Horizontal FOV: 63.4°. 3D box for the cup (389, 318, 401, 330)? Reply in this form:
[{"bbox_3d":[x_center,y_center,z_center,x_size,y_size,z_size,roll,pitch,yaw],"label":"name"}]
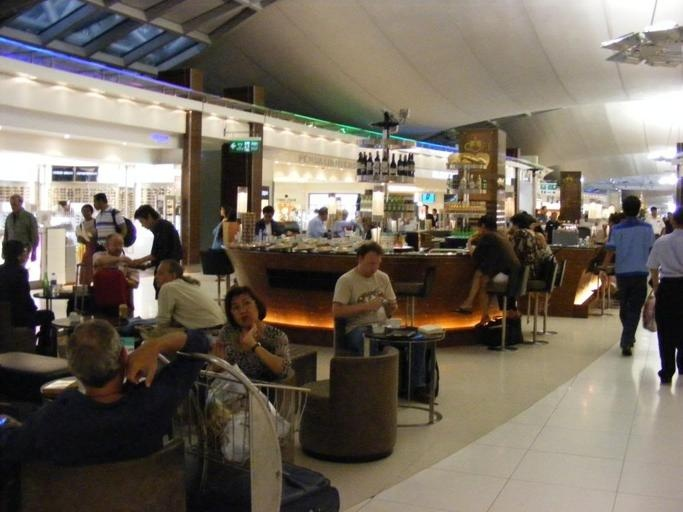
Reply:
[{"bbox_3d":[0.438,0.547,4.489,0.081,0.060,0.083,1,2,0],"label":"cup"}]

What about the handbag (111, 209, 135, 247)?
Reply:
[{"bbox_3d":[-3.130,-0.408,8.030,0.315,0.417,0.450,10,21,32],"label":"handbag"}]

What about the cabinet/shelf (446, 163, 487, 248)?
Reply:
[{"bbox_3d":[2.814,-1.320,12.535,0.865,2.070,0.819,0,22,8],"label":"cabinet/shelf"}]

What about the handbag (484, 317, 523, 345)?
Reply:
[{"bbox_3d":[2.070,0.950,7.044,0.278,0.292,0.476,5,7,44],"label":"handbag"}]

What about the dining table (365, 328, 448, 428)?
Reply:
[{"bbox_3d":[0.490,0.965,4.551,0.727,0.765,0.760,0,-2,11],"label":"dining table"}]

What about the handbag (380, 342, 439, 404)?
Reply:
[{"bbox_3d":[0.657,0.984,4.850,0.530,0.608,0.544,1,4,27],"label":"handbag"}]
